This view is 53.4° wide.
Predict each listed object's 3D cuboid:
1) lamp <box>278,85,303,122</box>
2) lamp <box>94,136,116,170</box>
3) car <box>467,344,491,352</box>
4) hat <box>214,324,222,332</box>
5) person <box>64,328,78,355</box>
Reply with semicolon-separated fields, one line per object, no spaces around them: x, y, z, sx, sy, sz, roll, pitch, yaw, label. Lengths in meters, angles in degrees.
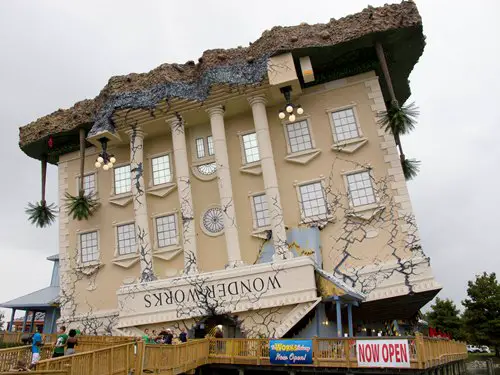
2.565;-5.211;30.627;1.419;2.199;1.459;-19;-38;27;lamp
-9.517;-2.365;32.625;0.954;1.740;0.970;-18;-18;17;lamp
27.858;19.645;60.482;2.415;1.034;4.218;-14;-26;21;car
-1.863;8.322;29.672;0.492;0.500;0.282;-2;-22;8;hat
-7.430;6.365;20.633;0.425;1.068;0.841;4;-25;-18;person
